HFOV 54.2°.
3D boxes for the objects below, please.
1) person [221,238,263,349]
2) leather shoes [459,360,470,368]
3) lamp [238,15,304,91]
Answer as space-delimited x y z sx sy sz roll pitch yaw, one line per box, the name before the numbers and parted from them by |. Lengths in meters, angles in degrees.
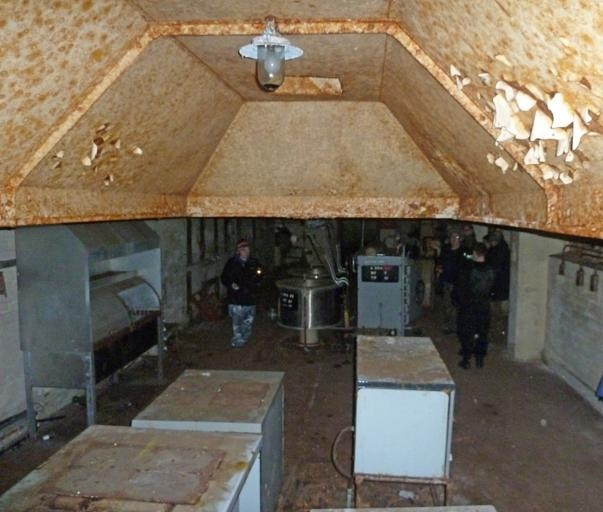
person | -0.875 0.527 8.405 0.540 1.516 0.372 1 -3 -8
leather shoes | 2.062 1.361 7.426 0.138 0.102 0.120 0 -3 8
lamp | -0.136 -0.916 2.657 0.280 0.332 0.278 1 4 7
